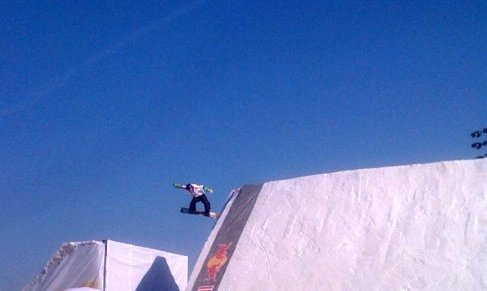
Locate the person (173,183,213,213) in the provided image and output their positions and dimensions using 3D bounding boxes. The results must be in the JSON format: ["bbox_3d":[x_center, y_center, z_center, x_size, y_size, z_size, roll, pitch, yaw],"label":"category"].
[{"bbox_3d":[-2.144,2.658,29.942,1.474,0.961,3.557,-19,-26,20],"label":"person"}]
